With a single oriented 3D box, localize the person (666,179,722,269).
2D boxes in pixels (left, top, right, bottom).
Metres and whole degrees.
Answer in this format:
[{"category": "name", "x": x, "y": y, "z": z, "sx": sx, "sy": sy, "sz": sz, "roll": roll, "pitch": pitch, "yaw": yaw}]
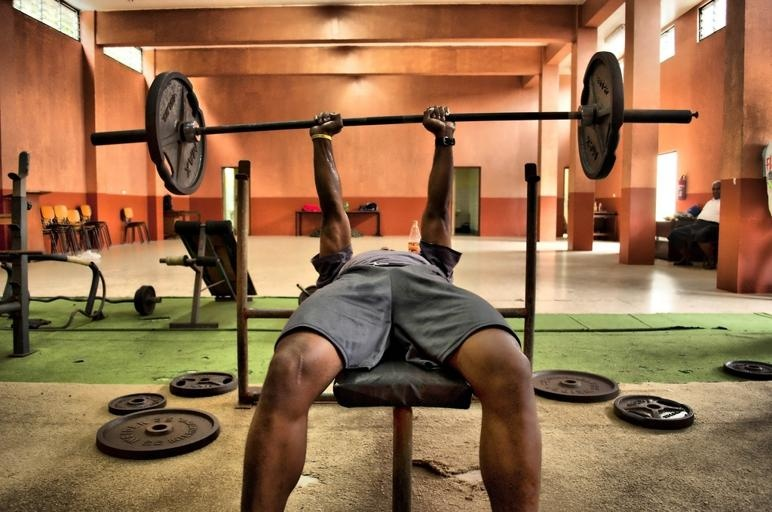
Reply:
[{"category": "person", "x": 4.442, "y": -0.474, "z": 8.888, "sx": 0.691, "sy": 1.178, "sz": 0.655, "roll": 10, "pitch": 0, "yaw": -31}]
